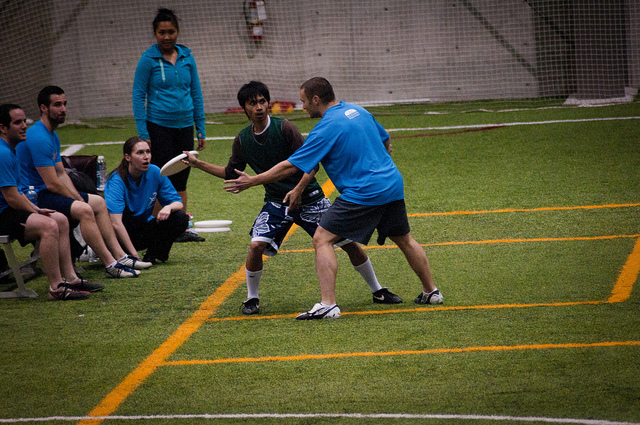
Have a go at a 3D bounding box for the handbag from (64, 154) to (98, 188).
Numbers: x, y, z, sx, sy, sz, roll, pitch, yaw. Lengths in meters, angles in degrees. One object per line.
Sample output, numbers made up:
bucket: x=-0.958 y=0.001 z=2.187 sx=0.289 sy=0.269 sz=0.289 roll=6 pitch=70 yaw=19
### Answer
handbag: x=-2.670 y=-0.454 z=7.587 sx=0.437 sy=0.340 sz=0.213 roll=5 pitch=19 yaw=8

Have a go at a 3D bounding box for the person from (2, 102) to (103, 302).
person: x=-2.768 y=-0.103 z=6.683 sx=1.088 sy=1.907 sz=0.605 roll=12 pitch=23 yaw=43
